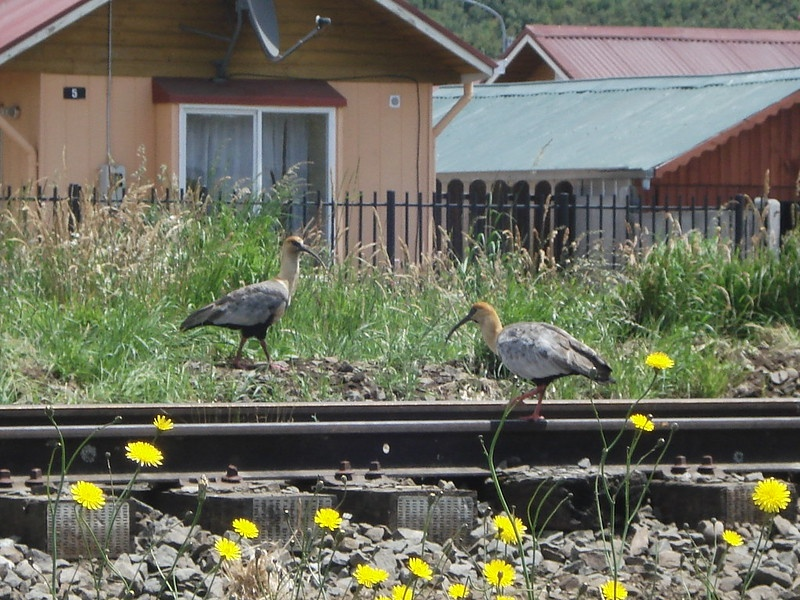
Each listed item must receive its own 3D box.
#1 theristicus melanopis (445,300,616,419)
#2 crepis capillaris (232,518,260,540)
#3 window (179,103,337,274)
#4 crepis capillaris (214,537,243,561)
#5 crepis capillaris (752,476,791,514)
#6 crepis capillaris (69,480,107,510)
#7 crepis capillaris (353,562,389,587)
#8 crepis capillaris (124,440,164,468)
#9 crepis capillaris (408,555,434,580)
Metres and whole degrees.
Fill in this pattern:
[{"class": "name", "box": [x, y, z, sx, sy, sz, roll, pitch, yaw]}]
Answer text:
[{"class": "theristicus melanopis", "box": [1.254, 0.528, 16.363, 1.472, 1.270, 0.748, -7, 4, 39]}, {"class": "crepis capillaris", "box": [-1.262, 1.898, 13.942, 0.246, 0.070, 0.271, 8, 34, -42]}, {"class": "window", "box": [-1.924, -1.492, 22.265, 1.853, 1.844, 0.172, -1, 8, -11]}, {"class": "crepis capillaris", "box": [-1.380, 2.031, 13.698, 0.201, 0.065, 0.218, 26, 33, 15]}, {"class": "crepis capillaris", "box": [3.015, 1.574, 13.582, 0.235, 0.256, 0.332, 0, -1, 33]}, {"class": "crepis capillaris", "box": [-2.485, 1.565, 13.460, 0.245, 0.226, 0.298, 1, -1, -11]}, {"class": "crepis capillaris", "box": [-0.225, 2.197, 13.378, 0.244, 0.197, 0.335, 1, -1, -4]}, {"class": "crepis capillaris", "box": [-2.161, 1.302, 14.229, 0.233, 0.114, 0.250, 28, 20, -2]}, {"class": "crepis capillaris", "box": [0.151, 2.066, 13.270, 0.195, 0.089, 0.215, 24, 30, -42]}]
